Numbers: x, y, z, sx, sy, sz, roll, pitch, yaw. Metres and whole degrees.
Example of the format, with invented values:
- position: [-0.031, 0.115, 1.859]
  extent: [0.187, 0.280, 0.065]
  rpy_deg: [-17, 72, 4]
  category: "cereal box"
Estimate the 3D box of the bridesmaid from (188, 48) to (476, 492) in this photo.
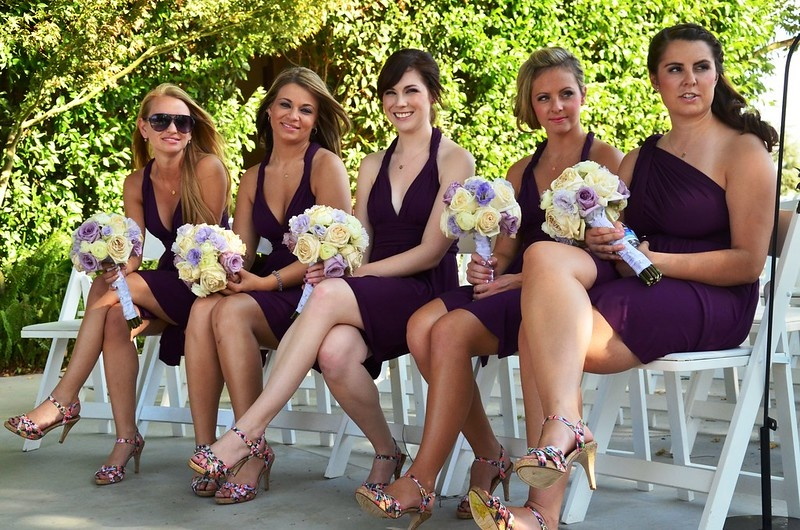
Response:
- position: [-0.391, 0.058, 3.348]
  extent: [1.835, 2.263, 0.882]
  rpy_deg: [-17, 20, -38]
  category: "bridesmaid"

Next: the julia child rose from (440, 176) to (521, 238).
- position: [0.405, -0.251, 2.971]
  extent: [0.327, 0.310, 0.321]
  rpy_deg: [1, -2, 5]
  category: "julia child rose"

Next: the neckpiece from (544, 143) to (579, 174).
- position: [0.893, -0.595, 3.464]
  extent: [0.157, 0.207, 0.090]
  rpy_deg: [3, -38, 14]
  category: "neckpiece"

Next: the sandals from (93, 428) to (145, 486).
- position: [-1.644, 1.116, 3.588]
  extent: [0.148, 0.247, 0.429]
  rpy_deg: [-4, -1, 12]
  category: "sandals"

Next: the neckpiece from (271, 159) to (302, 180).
- position: [-0.720, -0.604, 3.892]
  extent: [0.149, 0.146, 0.055]
  rpy_deg: [-1, -2, 18]
  category: "neckpiece"

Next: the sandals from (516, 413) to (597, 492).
- position: [0.629, 0.712, 2.395]
  extent: [0.401, 0.260, 0.150]
  rpy_deg: [16, -33, -20]
  category: "sandals"

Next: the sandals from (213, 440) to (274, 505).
- position: [-0.848, 1.097, 3.341]
  extent: [0.198, 0.293, 0.565]
  rpy_deg: [-6, -6, 17]
  category: "sandals"

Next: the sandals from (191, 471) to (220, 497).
- position: [-1.034, 1.169, 3.242]
  extent: [0.135, 0.096, 0.274]
  rpy_deg: [1, -9, -7]
  category: "sandals"

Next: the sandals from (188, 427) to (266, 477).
- position: [-0.806, 0.890, 2.988]
  extent: [0.203, 0.190, 0.444]
  rpy_deg: [9, 1, 41]
  category: "sandals"
